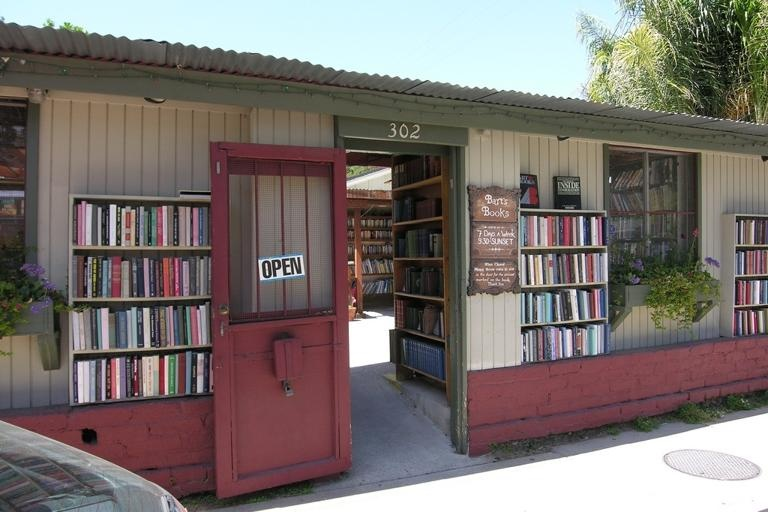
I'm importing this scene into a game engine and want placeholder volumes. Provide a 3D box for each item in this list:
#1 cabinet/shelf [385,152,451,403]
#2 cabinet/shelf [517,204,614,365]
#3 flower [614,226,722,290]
[{"bbox_3d":[0.487,0.164,8.591,0.581,2.093,1.531,-5,2,-18],"label":"cabinet/shelf"},{"bbox_3d":[2.189,0.322,8.211,1.401,1.855,0.371,-5,2,-18],"label":"cabinet/shelf"},{"bbox_3d":[3.699,0.062,8.707,1.643,0.793,0.593,-5,3,-30],"label":"flower"}]
